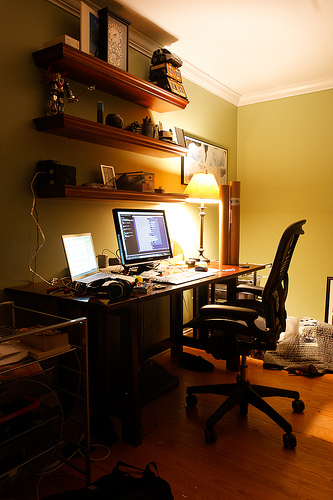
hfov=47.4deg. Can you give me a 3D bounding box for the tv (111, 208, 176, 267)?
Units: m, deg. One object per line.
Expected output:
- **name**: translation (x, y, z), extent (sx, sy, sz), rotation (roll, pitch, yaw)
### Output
- **tv**: translation (-0.121, -0.097, 2.422), extent (0.070, 0.345, 0.539), rotation (-16, 10, -39)

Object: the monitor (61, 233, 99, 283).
- **monitor**: translation (-0.452, 0.027, 1.999), extent (0.202, 0.181, 0.294), rotation (-2, 10, 15)

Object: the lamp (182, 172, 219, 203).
- **lamp**: translation (0.290, -0.466, 3.043), extent (0.297, 0.297, 0.313), rotation (6, 3, 31)

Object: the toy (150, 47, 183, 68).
- **toy**: translation (-0.002, -1.409, 2.744), extent (0.157, 0.109, 0.157), rotation (15, 26, 27)

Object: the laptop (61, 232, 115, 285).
- **laptop**: translation (-0.350, 0.037, 2.002), extent (0.292, 0.231, 0.368), rotation (4, 5, 5)

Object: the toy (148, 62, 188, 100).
- **toy**: translation (0.011, -1.243, 2.758), extent (0.270, 0.254, 0.206), rotation (0, 2, -5)

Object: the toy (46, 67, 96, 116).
- **toy**: translation (-0.510, -0.802, 1.939), extent (0.175, 0.233, 0.215), rotation (5, 1, 27)

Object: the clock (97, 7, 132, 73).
- **clock**: translation (-0.301, -1.241, 2.274), extent (0.072, 0.336, 0.297), rotation (1, 2, 28)
